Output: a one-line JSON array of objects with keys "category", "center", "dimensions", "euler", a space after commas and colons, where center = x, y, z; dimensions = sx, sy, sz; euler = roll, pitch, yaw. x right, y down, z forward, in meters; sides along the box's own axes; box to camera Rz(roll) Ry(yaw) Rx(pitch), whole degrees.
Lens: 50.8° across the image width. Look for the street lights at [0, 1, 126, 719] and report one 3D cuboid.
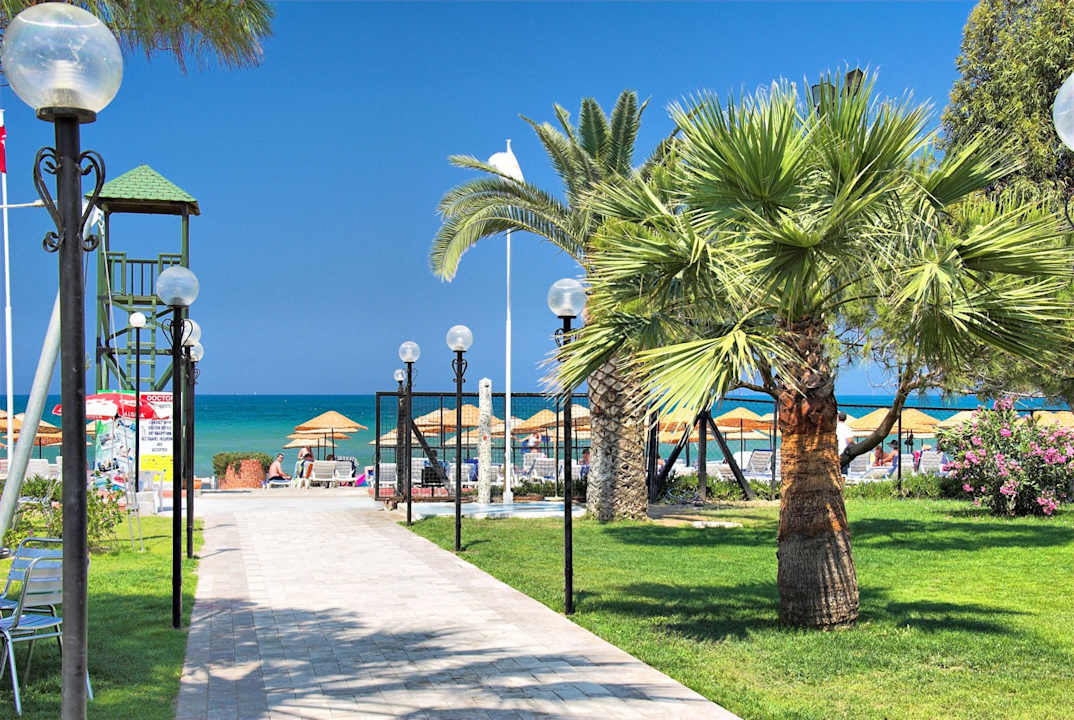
[{"category": "street lights", "center": [-3.901, -0.046, 9.140], "dimensions": [0.805, 5.885, 0.575], "euler": [3, -7, -25]}]
